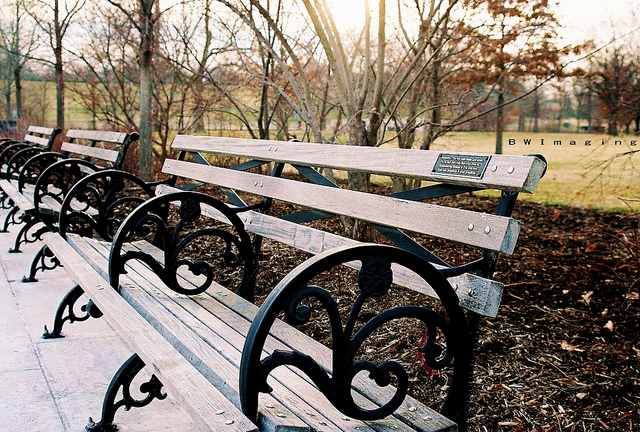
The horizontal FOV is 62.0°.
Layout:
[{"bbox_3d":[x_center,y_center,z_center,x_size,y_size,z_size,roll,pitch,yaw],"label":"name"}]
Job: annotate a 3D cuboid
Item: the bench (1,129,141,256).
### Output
[{"bbox_3d":[-2.672,-0.244,5.617,0.779,0.767,1.896,-2,5,-36],"label":"bench"}]
